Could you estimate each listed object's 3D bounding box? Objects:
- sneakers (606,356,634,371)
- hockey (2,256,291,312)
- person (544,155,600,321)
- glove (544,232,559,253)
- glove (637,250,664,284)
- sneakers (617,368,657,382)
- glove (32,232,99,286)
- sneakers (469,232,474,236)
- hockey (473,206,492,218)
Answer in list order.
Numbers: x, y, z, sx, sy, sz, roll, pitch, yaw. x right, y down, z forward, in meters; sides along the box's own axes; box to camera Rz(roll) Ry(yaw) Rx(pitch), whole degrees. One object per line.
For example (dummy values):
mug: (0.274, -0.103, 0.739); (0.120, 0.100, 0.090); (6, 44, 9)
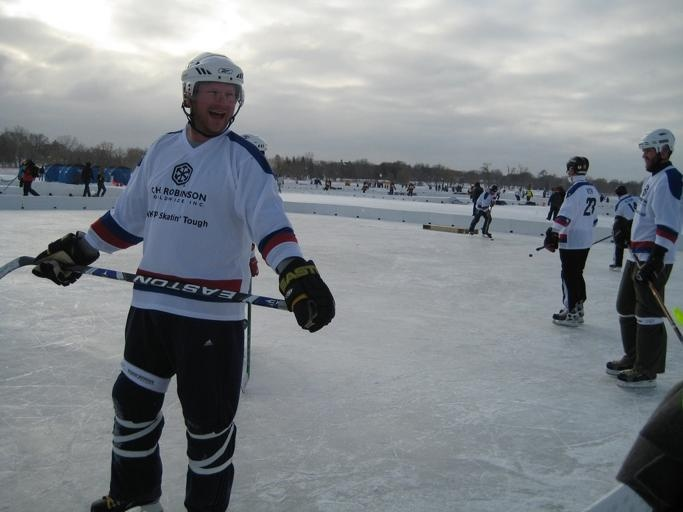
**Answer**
sneakers: (2.600, 1.008, 5.376); (0.251, 0.115, 0.105); (-2, 0, 20)
hockey: (-1.675, 0.244, 4.450); (2.358, 0.286, 0.173); (10, 40, 12)
person: (2.766, -0.183, 6.948); (0.518, 2.021, 0.880); (10, 13, 34)
glove: (2.516, -0.180, 6.949); (0.180, 0.253, 0.103); (13, -3, -43)
glove: (2.693, 0.067, 4.971); (0.181, 0.307, 0.247); (9, 13, 30)
sneakers: (2.616, 1.069, 5.082); (0.324, 0.149, 0.135); (2, -2, 4)
glove: (-1.637, 0.048, 3.479); (0.365, 0.299, 0.168); (-35, -26, 9)
sneakers: (3.968, -0.697, 17.514); (0.091, 0.073, 0.138); (2, 1, -6)
hockey: (4.000, -1.304, 16.580); (0.456, 0.250, 0.655); (1, 6, -11)
